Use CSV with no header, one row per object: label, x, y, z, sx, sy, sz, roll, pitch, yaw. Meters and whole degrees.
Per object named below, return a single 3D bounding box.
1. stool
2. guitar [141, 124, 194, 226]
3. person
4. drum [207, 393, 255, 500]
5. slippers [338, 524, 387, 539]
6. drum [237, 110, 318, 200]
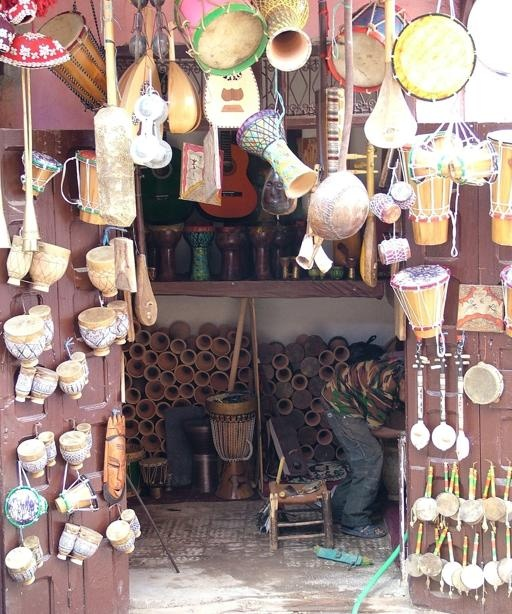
stool,0.297,1.355,4.526,0.438,0.387,0.385,-4,-23,9
guitar,-0.704,-0.937,5.393,0.387,0.611,0.196,-2,5,-10
person,0.695,0.902,4.565,0.594,1.190,0.265,1,5,25
drum,-0.193,1.063,5.323,0.348,0.791,0.345,-1,5,0
slippers,0.702,1.455,4.561,0.275,0.103,0.097,-4,-7,9
drum,0.073,-0.524,2.356,0.200,0.312,0.354,-4,5,-29
